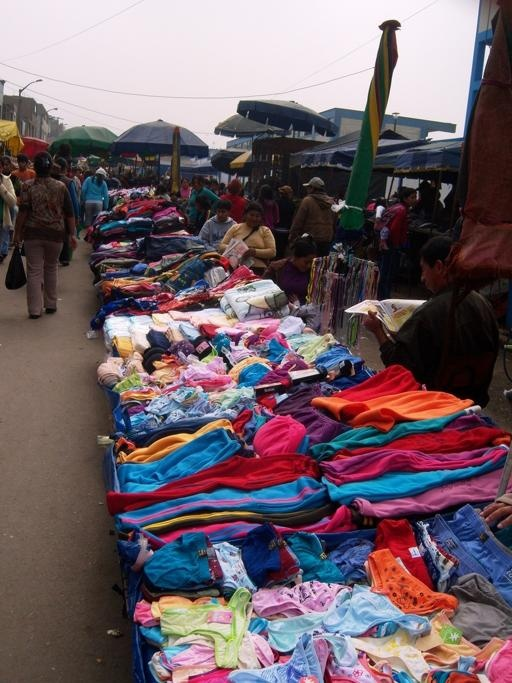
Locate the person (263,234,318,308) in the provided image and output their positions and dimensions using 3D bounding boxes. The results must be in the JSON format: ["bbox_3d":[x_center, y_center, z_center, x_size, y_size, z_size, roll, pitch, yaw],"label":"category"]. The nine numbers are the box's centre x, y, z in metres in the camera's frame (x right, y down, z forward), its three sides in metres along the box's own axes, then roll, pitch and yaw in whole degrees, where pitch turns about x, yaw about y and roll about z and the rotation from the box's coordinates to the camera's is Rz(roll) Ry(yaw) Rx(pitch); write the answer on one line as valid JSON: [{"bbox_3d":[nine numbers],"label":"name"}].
[{"bbox_3d":[0.359,-0.830,5.629,0.329,0.732,0.592,-12,24,-41],"label":"person"}]

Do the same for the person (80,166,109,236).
[{"bbox_3d":[-4.540,-3.998,14.014,0.718,1.639,1.138,-2,19,-18],"label":"person"}]

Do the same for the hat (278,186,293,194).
[{"bbox_3d":[0.597,-2.974,9.850,0.270,0.100,0.286,6,13,13],"label":"hat"}]

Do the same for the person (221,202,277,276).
[{"bbox_3d":[-0.106,-1.423,6.965,0.743,0.976,0.691,3,18,-3],"label":"person"}]

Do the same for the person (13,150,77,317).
[{"bbox_3d":[-3.099,-1.314,7.244,0.471,2.048,0.838,12,20,24],"label":"person"}]

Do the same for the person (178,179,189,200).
[{"bbox_3d":[-2.440,-5.222,17.068,0.340,0.562,0.815,1,18,-9],"label":"person"}]

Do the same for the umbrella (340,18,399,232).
[{"bbox_3d":[1.173,-2.140,5.100,0.399,2.045,0.479,0,18,-14],"label":"umbrella"}]

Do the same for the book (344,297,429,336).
[{"bbox_3d":[0.892,-0.204,3.370,0.438,0.110,0.283,11,16,21],"label":"book"}]
